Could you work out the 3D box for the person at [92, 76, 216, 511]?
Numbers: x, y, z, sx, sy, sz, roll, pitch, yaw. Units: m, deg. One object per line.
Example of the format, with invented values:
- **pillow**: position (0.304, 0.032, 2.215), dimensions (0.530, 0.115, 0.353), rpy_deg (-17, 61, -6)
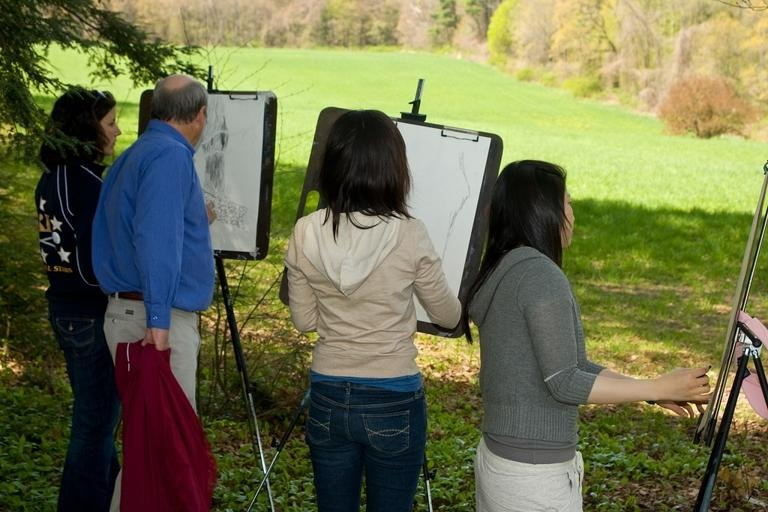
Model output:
- **person**: position (-1.470, -0.096, 4.597), dimensions (0.740, 2.112, 0.679), rpy_deg (-2, 11, -19)
